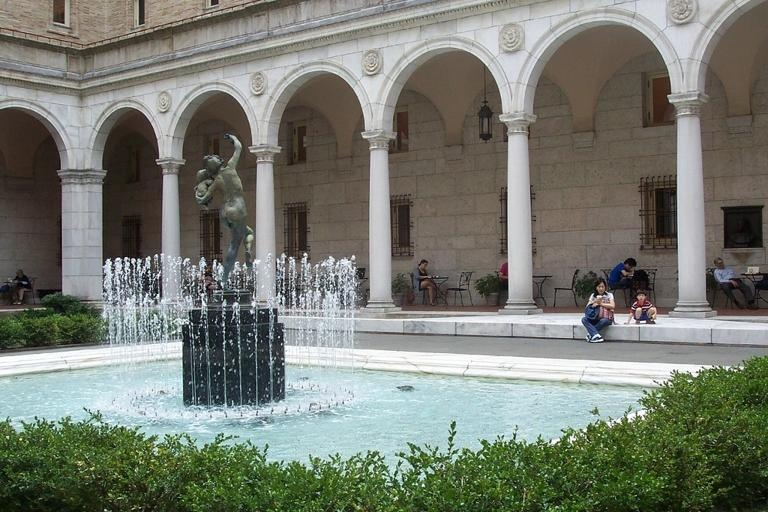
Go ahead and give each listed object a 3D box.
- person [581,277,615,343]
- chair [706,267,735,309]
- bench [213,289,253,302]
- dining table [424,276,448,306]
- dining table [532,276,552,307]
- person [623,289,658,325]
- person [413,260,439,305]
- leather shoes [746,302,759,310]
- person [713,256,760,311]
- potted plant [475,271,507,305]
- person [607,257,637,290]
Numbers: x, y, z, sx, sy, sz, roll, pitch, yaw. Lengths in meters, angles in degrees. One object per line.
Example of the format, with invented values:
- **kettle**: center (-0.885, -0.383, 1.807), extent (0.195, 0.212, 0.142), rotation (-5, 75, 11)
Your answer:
- **person**: center (4.146, 1.066, 13.932), extent (0.570, 1.167, 0.781), rotation (0, 9, 32)
- **chair**: center (8.422, 0.852, 18.036), extent (0.637, 0.889, 0.609), rotation (0, 5, -2)
- **bench**: center (-2.135, 0.579, 10.116), extent (0.514, 0.198, 0.440), rotation (-6, 8, -11)
- **dining table**: center (1.724, 1.062, 22.100), extent (0.794, 0.768, 0.792), rotation (0, -3, -24)
- **dining table**: center (4.549, 0.980, 20.800), extent (0.746, 0.754, 0.738), rotation (-1, -5, 7)
- **person**: center (5.116, 1.001, 14.266), extent (0.556, 0.637, 0.833), rotation (-2, 8, 18)
- **person**: center (1.282, 0.799, 21.784), extent (0.750, 1.402, 1.433), rotation (-4, 8, 4)
- **leather shoes**: center (9.088, 1.232, 17.588), extent (0.166, 0.118, 0.280), rotation (3, 7, 35)
- **person**: center (8.695, 0.667, 17.748), extent (0.947, 1.193, 1.127), rotation (-1, 8, 25)
- **potted plant**: center (3.089, 0.928, 20.691), extent (0.862, 0.844, 0.870), rotation (1, 4, 21)
- **person**: center (6.252, 0.470, 18.726), extent (0.669, 0.850, 0.655), rotation (-2, 5, -13)
